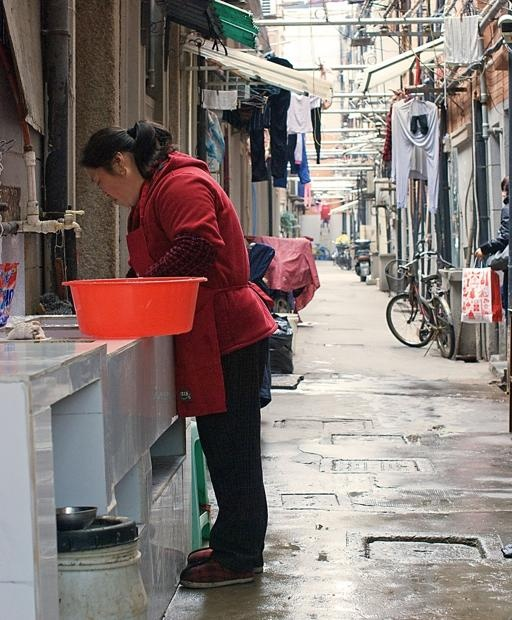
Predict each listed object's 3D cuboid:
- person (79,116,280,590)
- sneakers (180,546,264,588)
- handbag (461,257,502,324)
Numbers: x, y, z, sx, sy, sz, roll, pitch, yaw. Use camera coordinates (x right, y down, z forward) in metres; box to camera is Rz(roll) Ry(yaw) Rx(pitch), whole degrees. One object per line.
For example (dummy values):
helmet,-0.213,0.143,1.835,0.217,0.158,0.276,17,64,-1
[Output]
person,-0.256,0.219,4.016,0.569,1.855,0.872,-1,3,13
sneakers,-0.118,1.060,4.356,0.382,0.188,0.141,-5,2,2
handbag,2.251,-0.159,10.501,0.391,0.563,0.340,0,3,32
